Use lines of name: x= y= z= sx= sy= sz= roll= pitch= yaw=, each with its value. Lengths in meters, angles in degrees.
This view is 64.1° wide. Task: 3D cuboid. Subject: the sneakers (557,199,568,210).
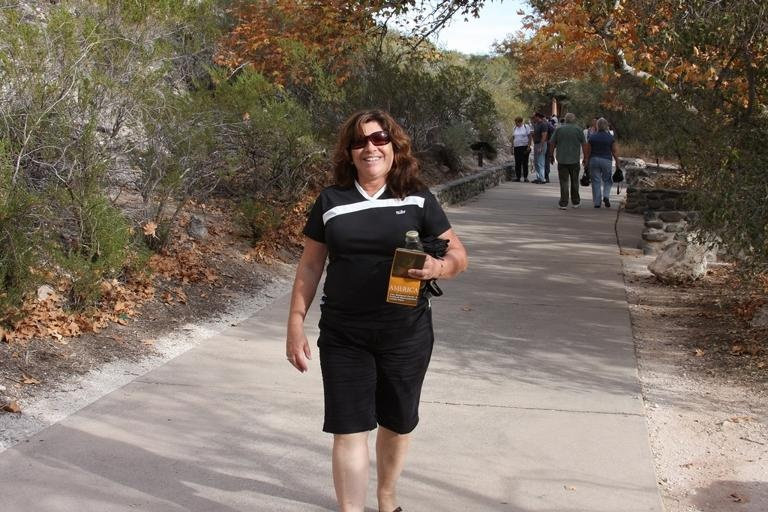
sneakers: x=4.322 y=-1.254 z=14.857 sx=0.198 sy=0.209 sz=0.314 roll=2 pitch=9 yaw=10

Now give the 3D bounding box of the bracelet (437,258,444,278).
bracelet: x=0.332 y=0.070 z=3.593 sx=0.048 sy=0.085 sz=0.067 roll=4 pitch=7 yaw=0
